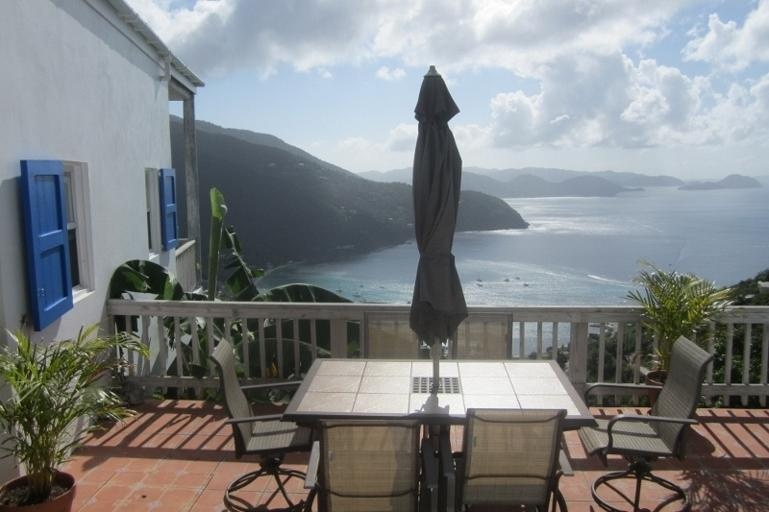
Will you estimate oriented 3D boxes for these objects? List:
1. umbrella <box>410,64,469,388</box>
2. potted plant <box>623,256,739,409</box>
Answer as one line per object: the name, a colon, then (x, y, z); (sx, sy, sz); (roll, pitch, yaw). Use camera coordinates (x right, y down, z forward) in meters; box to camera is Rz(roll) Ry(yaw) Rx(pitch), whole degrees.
umbrella: (0.456, -0.233, 4.769); (0.536, 2.924, 0.370); (-3, 4, -4)
potted plant: (3.401, 0.891, 6.857); (1.416, 1.666, 1.466); (16, -1, 15)
